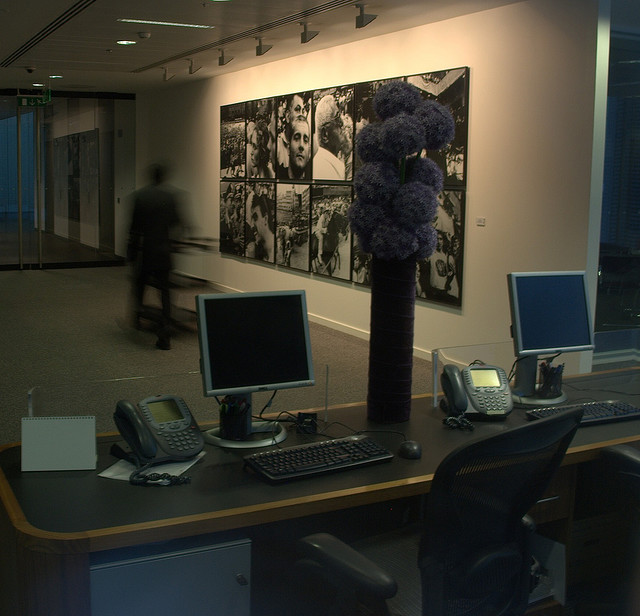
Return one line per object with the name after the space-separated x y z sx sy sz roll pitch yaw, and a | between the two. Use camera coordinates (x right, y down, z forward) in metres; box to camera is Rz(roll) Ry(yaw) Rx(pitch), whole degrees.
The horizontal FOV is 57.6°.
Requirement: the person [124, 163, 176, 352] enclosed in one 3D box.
-1.990 -0.608 7.048 0.585 2.144 1.019 -1 7 -18 | person

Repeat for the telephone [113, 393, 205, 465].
-0.499 0.397 1.867 0.269 0.105 0.293 4 21 -42 | telephone

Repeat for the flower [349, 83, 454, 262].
0.309 -0.537 2.278 0.372 0.706 0.291 4 7 21 | flower

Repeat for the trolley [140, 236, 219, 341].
-1.739 -0.263 7.142 0.770 1.145 1.512 1 5 -35 | trolley

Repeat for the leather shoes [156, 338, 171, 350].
-1.862 0.436 6.943 0.231 0.142 0.135 5 0 -8 | leather shoes

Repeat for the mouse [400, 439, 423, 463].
0.302 0.476 1.941 0.050 0.048 0.053 0 6 -6 | mouse
